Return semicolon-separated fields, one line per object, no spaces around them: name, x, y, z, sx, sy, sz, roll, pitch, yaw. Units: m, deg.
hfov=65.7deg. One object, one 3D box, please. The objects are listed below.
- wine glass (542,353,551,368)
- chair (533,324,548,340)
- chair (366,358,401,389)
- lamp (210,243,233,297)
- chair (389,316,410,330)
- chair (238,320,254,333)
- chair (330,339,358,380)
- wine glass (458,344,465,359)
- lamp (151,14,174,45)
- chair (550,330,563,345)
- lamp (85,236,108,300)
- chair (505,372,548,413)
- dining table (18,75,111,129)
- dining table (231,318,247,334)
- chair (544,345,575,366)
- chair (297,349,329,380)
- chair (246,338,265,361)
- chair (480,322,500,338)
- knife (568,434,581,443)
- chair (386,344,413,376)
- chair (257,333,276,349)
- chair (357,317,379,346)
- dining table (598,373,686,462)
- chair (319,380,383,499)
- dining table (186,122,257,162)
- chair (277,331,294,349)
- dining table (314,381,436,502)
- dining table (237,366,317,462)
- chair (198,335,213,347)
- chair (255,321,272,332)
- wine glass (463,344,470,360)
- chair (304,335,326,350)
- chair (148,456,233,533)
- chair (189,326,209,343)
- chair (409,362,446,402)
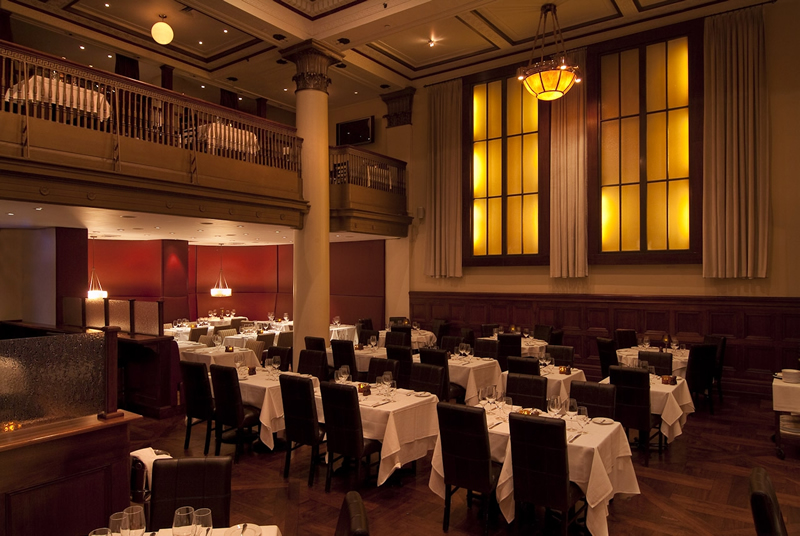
wine glass;2.569;1.606;10.849;0.170;0.272;0.170;-3;1;-22
chair;3.149;1.442;13.935;0.353;0.356;0.265;-2;-8;11
chair;-0.253;1.637;9.721;0.425;0.750;0.445;-2;-6;26
lamp;-5.383;0.330;18.605;0.677;1.120;1.400;0;-3;-16
chair;-0.001;1.377;15.488;0.293;0.431;0.353;2;2;24
chair;-3.850;1.476;15.546;0.336;0.349;0.343;1;-2;21
chair;-1.107;1.753;11.737;0.481;0.745;0.595;-1;-3;7
wine glass;1.157;1.528;11.633;0.155;0.276;0.160;0;-6;6
lamp;-5.171;-5.083;13.493;0.431;0.653;1.281;0;-3;-19
chair;3.229;1.435;12.814;0.243;0.298;0.433;-2;-3;13
lamp;-7.234;-0.041;14.744;0.387;1.461;2.011;0;-3;-26
chair;1.854;1.743;9.084;0.571;0.845;0.478;0;1;26
dining table;-5.600;-2.858;10.374;1.223;0.453;1.256;8;0;34
dining table;-4.068;1.459;15.610;0.280;0.405;0.390;4;4;9
chair;2.820;1.538;10.944;0.557;0.529;0.324;0;-1;37
chair;-1.408;1.651;10.733;0.390;0.568;0.559;3;-8;23
chair;-2.915;1.638;12.432;0.346;0.511;0.404;-2;-8;13
chair;2.046;1.405;14.065;0.308;0.430;0.353;-2;-9;16
knife;2.141;2.080;7.598;0.062;0.008;0.211;-2;5;31
chair;0.036;1.671;11.232;0.522;0.770;0.440;-5;-8;32
chair;-2.957;1.609;13.751;0.366;0.456;0.366;0;3;-38
chair;-0.746;1.446;13.862;0.514;0.697;0.487;-1;-3;37
dining table;3.497;2.151;8.955;1.083;1.240;1.202;-7;6;-42
chair;-0.708;2.313;8.691;0.767;1.487;0.999;-1;-2;-4
dining table;-3.522;-2.564;12.387;0.981;0.366;1.004;8;6;31
chair;-2.516;1.582;13.586;0.456;0.516;0.408;1;0;-12
dining table;-0.250;2.167;8.572;1.560;0.786;1.465;2;5;39
dining table;-1.871;2.293;9.831;1.388;0.733;1.179;2;4;41
chair;-4.199;1.587;13.403;0.261;0.264;0.237;7;-1;-34
chair;-3.605;1.516;16.226;0.291;0.182;0.297;1;0;22
wine glass;1.270;1.569;11.715;0.175;0.273;0.175;1;-6;-7
chair;-1.659;1.470;12.115;0.294;0.327;0.320;1;0;37
chair;-2.194;2.392;6.861;0.736;1.082;0.806;1;-5;-9
chair;-4.436;1.470;13.700;0.317;0.543;0.314;2;0;32
chair;0.448;1.773;9.720;0.495;0.881;0.521;-1;-3;31
